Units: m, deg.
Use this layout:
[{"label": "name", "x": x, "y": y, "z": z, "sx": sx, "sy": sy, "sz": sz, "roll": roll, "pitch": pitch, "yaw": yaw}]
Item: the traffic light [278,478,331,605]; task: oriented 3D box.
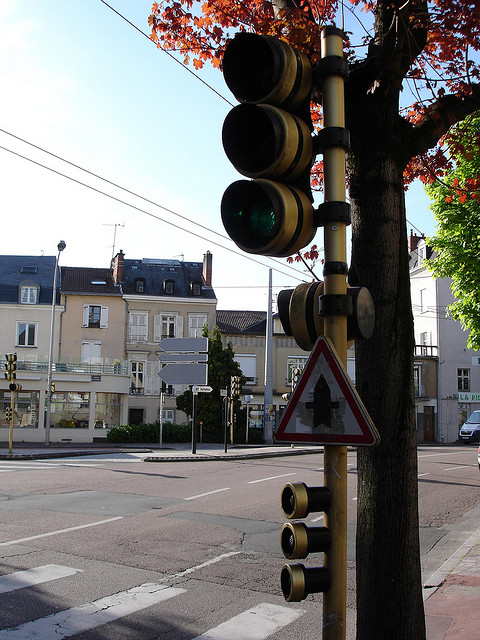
[{"label": "traffic light", "x": 0.267, "y": 0.883, "z": 2.737, "sx": 0.191, "sy": 0.454, "sz": 0.130, "roll": 5, "pitch": -6, "yaw": -25}]

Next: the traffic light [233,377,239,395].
[{"label": "traffic light", "x": -0.197, "y": 2.889, "z": 30.294, "sx": 0.174, "sy": 0.677, "sz": 0.538, "roll": -1, "pitch": -7, "yaw": 16}]

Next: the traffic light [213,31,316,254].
[{"label": "traffic light", "x": 0.102, "y": -0.781, "z": 2.986, "sx": 0.415, "sy": 1.042, "sz": 0.316, "roll": -4, "pitch": -8, "yaw": 39}]
